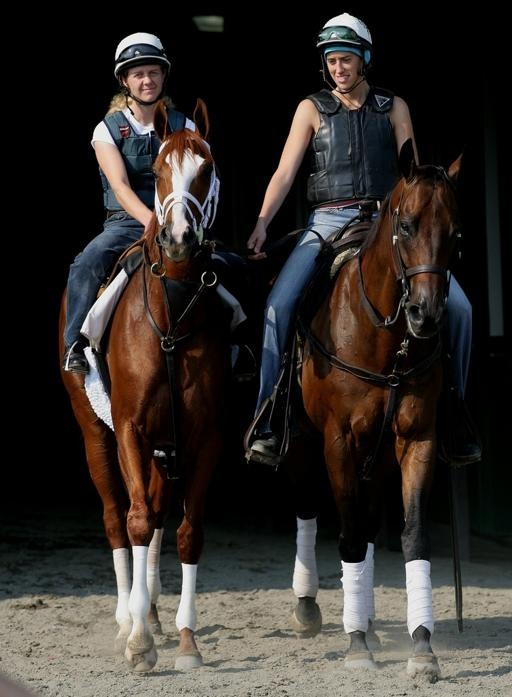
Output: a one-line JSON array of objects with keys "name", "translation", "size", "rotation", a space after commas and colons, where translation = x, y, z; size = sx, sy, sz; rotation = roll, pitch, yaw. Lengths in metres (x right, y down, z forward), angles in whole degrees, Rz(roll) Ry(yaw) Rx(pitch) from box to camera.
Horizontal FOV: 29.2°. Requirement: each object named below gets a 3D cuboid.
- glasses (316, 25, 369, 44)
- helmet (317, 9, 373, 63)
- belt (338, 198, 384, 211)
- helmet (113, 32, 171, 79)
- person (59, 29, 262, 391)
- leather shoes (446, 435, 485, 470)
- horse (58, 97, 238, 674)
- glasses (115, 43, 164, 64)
[{"name": "glasses", "translation": [0.447, -1.598, 5.043], "size": [0.266, 0.102, 0.153], "rotation": [1, -1, 5]}, {"name": "helmet", "translation": [0.457, -1.601, 5.107], "size": [0.302, 0.249, 0.312], "rotation": [7, 7, -3]}, {"name": "belt", "translation": [0.547, -0.751, 5.099], "size": [0.205, 0.057, 0.258], "rotation": [-1, -1, 8]}, {"name": "helmet", "translation": [-0.625, -1.583, 5.327], "size": [0.246, 0.199, 0.264], "rotation": [-5, -32, -13]}, {"name": "person", "translation": [-0.543, -0.819, 5.466], "size": [1.312, 1.772, 1.074], "rotation": [-6, 17, -11]}, {"name": "leather shoes", "translation": [1.060, 0.537, 5.015], "size": [0.209, 0.170, 0.143], "rotation": [-1, 2, 23]}, {"name": "horse", "translation": [-0.478, 0.164, 4.937], "size": [0.657, 2.759, 1.357], "rotation": [2, -2, -15]}, {"name": "glasses", "translation": [-0.618, -1.568, 5.212], "size": [0.156, 0.076, 0.173], "rotation": [-3, 4, -2]}]
